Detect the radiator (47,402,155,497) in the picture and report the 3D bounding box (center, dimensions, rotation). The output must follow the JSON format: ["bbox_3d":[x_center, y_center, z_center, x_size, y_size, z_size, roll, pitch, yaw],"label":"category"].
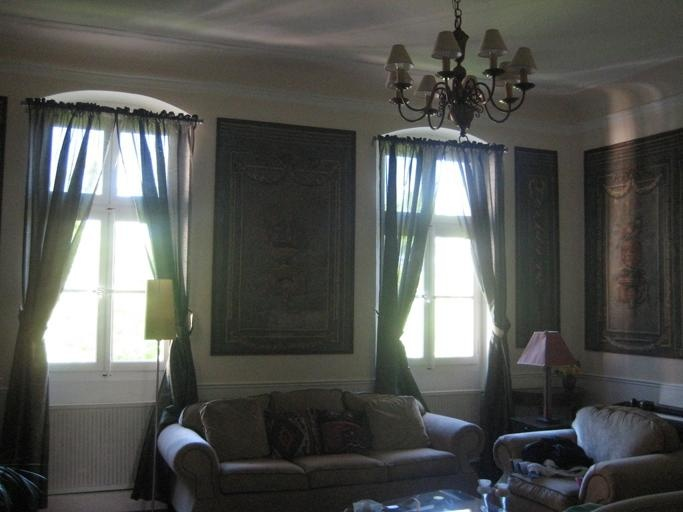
[{"bbox_3d":[-2.319,1.878,5.630,0.873,0.678,0.036,0,-5,-11],"label":"radiator"}]

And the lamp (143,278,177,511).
[{"bbox_3d":[-1.650,1.279,5.407,0.280,2.136,0.773,0,-1,-16],"label":"lamp"}]

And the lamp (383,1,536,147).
[{"bbox_3d":[1.001,-1.680,5.333,1.093,1.452,1.109,1,-8,-14],"label":"lamp"}]

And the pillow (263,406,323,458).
[{"bbox_3d":[-0.453,1.592,5.301,0.404,0.403,0.124,2,-15,-13],"label":"pillow"}]

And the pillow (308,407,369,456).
[{"bbox_3d":[0.000,1.605,5.419,0.386,0.375,0.117,6,-32,-15],"label":"pillow"}]
